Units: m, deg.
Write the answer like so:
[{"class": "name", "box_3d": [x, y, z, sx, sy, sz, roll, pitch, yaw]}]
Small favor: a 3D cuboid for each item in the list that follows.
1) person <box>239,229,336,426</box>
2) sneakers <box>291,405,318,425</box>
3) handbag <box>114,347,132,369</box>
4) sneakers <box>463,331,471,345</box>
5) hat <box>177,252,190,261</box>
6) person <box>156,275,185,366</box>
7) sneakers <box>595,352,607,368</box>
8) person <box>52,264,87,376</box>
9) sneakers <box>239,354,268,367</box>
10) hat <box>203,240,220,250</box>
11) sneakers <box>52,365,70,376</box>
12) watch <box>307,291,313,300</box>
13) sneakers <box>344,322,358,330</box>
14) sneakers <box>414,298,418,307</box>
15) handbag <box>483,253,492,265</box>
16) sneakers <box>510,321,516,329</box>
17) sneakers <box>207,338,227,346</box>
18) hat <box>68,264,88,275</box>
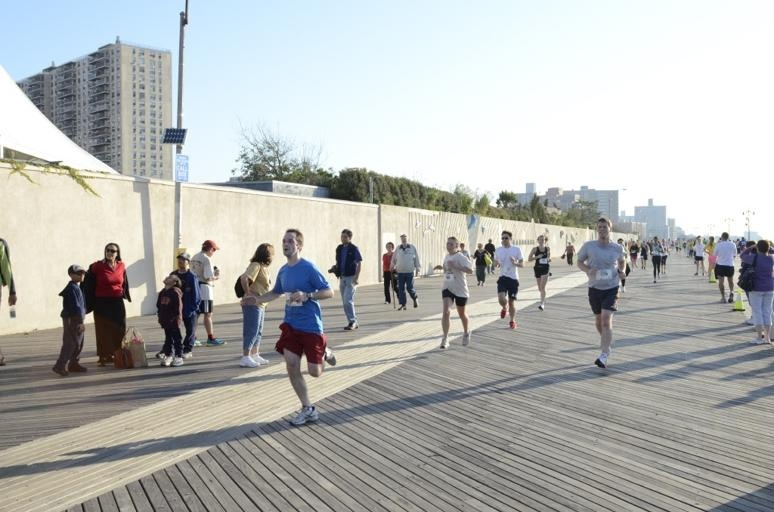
[{"class": "person", "box_3d": [-1.299, 0.985, 9.279, 0.978, 2.675, 0.767, 8, 13, 43]}, {"class": "sneakers", "box_3d": [-1.177, 2.258, 9.205, 0.451, 0.249, 0.181, -5, 5, -15]}, {"class": "handbag", "box_3d": [-4.780, 1.847, 11.627, 0.326, 0.387, 0.199, 3, 6, 16]}, {"class": "sneakers", "box_3d": [1.600, 1.604, 12.912, 0.100, 0.333, 0.125, 7, 2, 27]}, {"class": "hat", "box_3d": [-3.927, 0.032, 12.439, 0.249, 0.139, 0.182, 20, -10, -31]}, {"class": "person", "box_3d": [-4.018, 1.205, 11.915, 0.430, 1.599, 0.671, -4, 10, -19]}, {"class": "sneakers", "box_3d": [3.771, 1.836, 11.282, 0.137, 0.152, 0.334, 41, -6, 22]}, {"class": "person", "box_3d": [-5.586, 1.137, 11.320, 0.418, 1.861, 0.626, 1, 10, 9]}, {"class": "sneakers", "box_3d": [-2.452, 1.915, 11.637, 0.275, 0.110, 0.295, -1, -1, 15]}, {"class": "hat", "box_3d": [-4.090, -0.274, 14.831, 0.251, 0.197, 0.351, 9, 9, 40]}, {"class": "sneakers", "box_3d": [-5.704, 2.015, 11.244, 0.320, 0.127, 0.144, 26, -14, 5]}, {"class": "watch", "box_3d": [-1.090, 0.555, 9.055, 0.093, 0.090, 0.064, 9, 21, -35]}, {"class": "sneakers", "box_3d": [-0.824, 1.639, 14.971, 0.137, 0.149, 0.352, -8, -11, 28]}, {"class": "sneakers", "box_3d": [0.822, 1.388, 18.487, 0.096, 0.314, 0.134, 0, 45, 4]}, {"class": "handbag", "box_3d": [3.250, 0.093, 20.893, 0.135, 0.436, 0.298, -23, 3, 22]}, {"class": "sneakers", "box_3d": [2.891, 1.585, 14.811, 0.104, 0.135, 0.303, -3, -9, 9]}, {"class": "sneakers", "box_3d": [-3.599, 1.786, 13.431, 0.321, 0.163, 0.158, 1, 1, -1]}, {"class": "hat", "box_3d": [-5.941, 0.257, 12.283, 0.342, 0.165, 0.259, -4, 0, 14]}]
